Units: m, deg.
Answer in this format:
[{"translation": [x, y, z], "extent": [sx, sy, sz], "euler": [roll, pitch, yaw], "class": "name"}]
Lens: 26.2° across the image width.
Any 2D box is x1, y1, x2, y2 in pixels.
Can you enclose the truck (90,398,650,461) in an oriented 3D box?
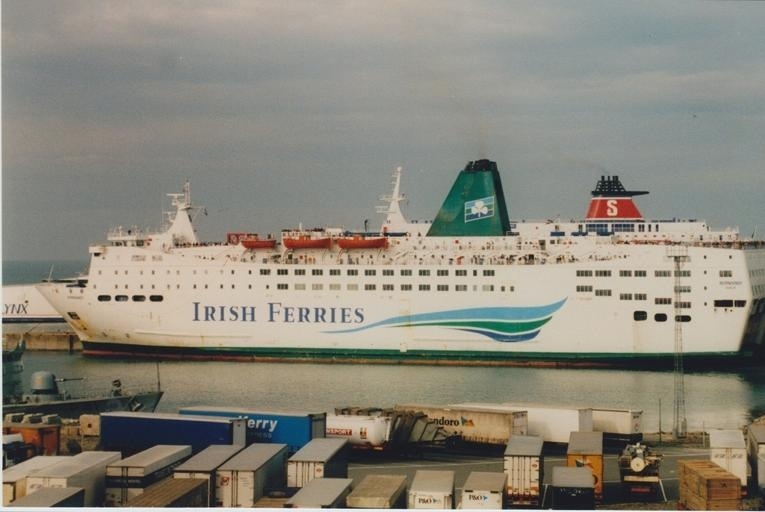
[{"translation": [-0.447, 5.893, 55.906], "extent": [13.443, 1.163, 1.715], "euler": [1, -3, 3], "class": "truck"}]
